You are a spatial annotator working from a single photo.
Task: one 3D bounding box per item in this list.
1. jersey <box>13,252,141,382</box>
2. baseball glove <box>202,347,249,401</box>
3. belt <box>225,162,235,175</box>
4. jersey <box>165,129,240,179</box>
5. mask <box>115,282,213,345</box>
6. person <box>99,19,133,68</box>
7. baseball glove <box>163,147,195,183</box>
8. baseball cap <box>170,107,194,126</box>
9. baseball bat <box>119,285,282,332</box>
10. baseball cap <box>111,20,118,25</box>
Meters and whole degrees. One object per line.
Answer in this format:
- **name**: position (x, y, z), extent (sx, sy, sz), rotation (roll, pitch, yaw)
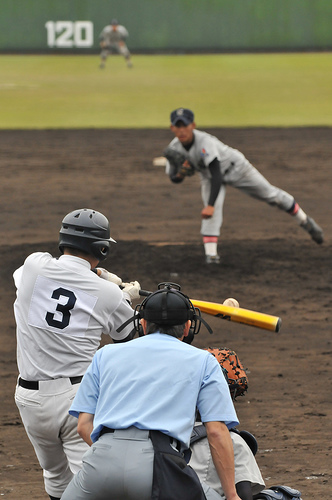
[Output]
- **jersey**: position (-0.588, 0.471, 7.792), extent (0.711, 0.851, 0.494), rotation (19, 31, 9)
- **baseball glove**: position (0.389, 0.781, 7.571), extent (0.235, 0.328, 0.189), rotation (-10, 1, -9)
- **belt**: position (0.633, -0.767, 11.866), extent (0.071, 0.104, 0.037), rotation (12, 12, 15)
- **jersey**: position (0.424, -0.891, 11.762), extent (0.471, 0.201, 0.567), rotation (29, -4, 35)
- **mask**: position (0.018, 0.398, 7.346), extent (0.517, 0.394, 0.343), rotation (3, 6, 6)
- **person**: position (-0.667, -2.680, 15.756), extent (0.389, 0.610, 0.757), rotation (1, 19, -4)
- **baseball glove**: position (0.170, -0.814, 12.029), extent (0.248, 0.344, 0.139), rotation (29, 54, 21)
- **baseball cap**: position (0.165, -1.233, 11.477), extent (0.210, 0.186, 0.208), rotation (2, 19, -2)
- **baseball bat**: position (0.275, 0.463, 8.912), extent (1.064, 0.118, 0.116), rotation (16, 30, 16)
- **baseball cap**: position (-0.649, -2.870, 15.446), extent (0.101, 0.077, 0.131), rotation (2, 8, 5)
